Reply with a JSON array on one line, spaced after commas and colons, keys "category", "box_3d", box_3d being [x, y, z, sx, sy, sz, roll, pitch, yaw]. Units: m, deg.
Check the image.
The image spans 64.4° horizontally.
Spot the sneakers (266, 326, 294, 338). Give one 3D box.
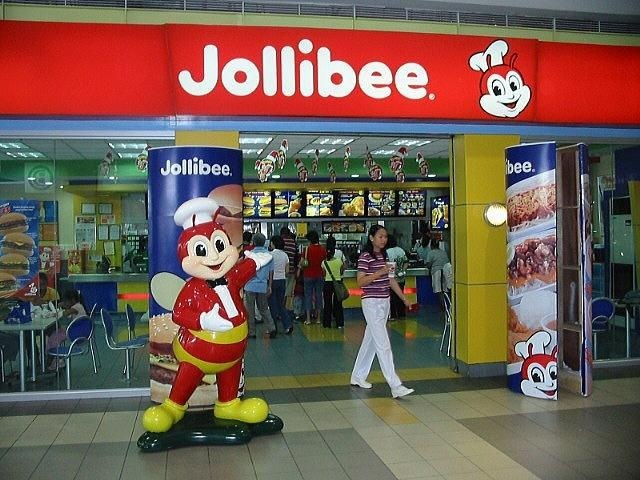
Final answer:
[{"category": "sneakers", "box_3d": [-0.682, 1.606, 8.751, 0.446, 0.185, 0.152, 2, -4, -18]}]

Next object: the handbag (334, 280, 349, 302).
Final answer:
[{"category": "handbag", "box_3d": [0.375, 0.926, 9.232, 0.240, 0.274, 0.281, -3, 2, -5]}]

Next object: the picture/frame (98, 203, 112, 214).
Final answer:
[{"category": "picture/frame", "box_3d": [-2.660, -0.391, 6.311, 0.188, 0.141, 0.102, 1, 0, -25]}]

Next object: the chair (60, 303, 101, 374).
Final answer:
[{"category": "chair", "box_3d": [-2.765, 1.202, 5.749, 0.412, 0.685, 0.366, -2, 4, 40]}]

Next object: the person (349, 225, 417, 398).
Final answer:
[{"category": "person", "box_3d": [0.679, 0.788, 5.760, 0.499, 1.258, 0.701, -4, 2, -24]}]

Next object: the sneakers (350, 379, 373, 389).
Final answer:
[{"category": "sneakers", "box_3d": [0.488, 1.689, 5.992, 0.236, 0.108, 0.095, -1, -1, 22]}]

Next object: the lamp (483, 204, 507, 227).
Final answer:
[{"category": "lamp", "box_3d": [2.152, -0.302, 6.216, 0.265, 0.281, 0.065, 7, 1, -7]}]

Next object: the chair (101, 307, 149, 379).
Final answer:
[{"category": "chair", "box_3d": [-2.205, 1.200, 5.807, 0.529, 0.826, 0.455, -2, -5, -8]}]

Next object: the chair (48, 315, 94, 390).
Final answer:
[{"category": "chair", "box_3d": [-2.799, 1.194, 5.734, 0.407, 0.707, 0.425, 2, 5, 24]}]
